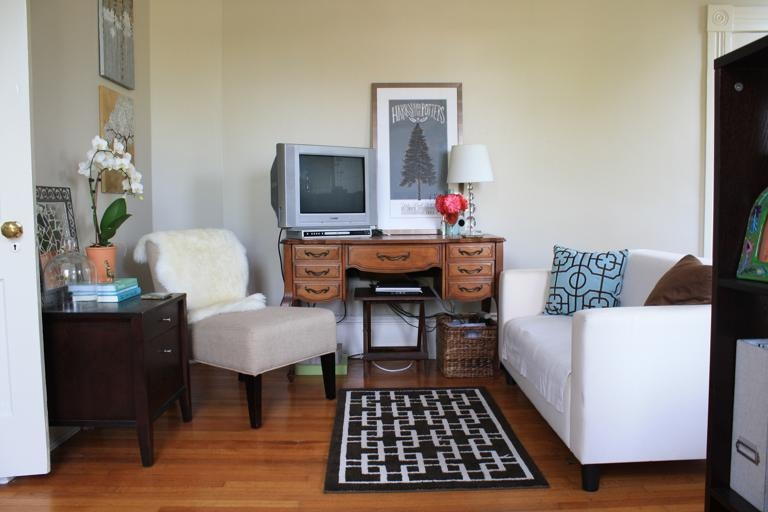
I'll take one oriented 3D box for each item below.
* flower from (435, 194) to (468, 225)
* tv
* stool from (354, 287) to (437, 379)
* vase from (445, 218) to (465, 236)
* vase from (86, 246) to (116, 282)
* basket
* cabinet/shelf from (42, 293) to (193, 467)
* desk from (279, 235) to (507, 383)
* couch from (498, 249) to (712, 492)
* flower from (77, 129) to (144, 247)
[{"bbox_3d":[0.489,-0.333,4.138,0.215,0.230,0.224,-5,5,-39],"label":"flower"},{"bbox_3d":[-0.460,-0.444,4.335,1.013,0.817,0.559,0,4,-17],"label":"tv"},{"bbox_3d":[0.078,0.531,4.219,0.610,0.571,0.574,0,-1,0],"label":"stool"},{"bbox_3d":[0.518,-0.194,4.185,0.135,0.137,0.249,-5,-1,14],"label":"vase"},{"bbox_3d":[-1.596,0.040,3.268,0.198,0.217,0.198,0,3,3],"label":"vase"},{"bbox_3d":[0.597,0.644,4.167,0.394,0.345,0.394,0,-1,0],"label":"basket"},{"bbox_3d":[-1.453,0.563,3.424,0.724,0.931,0.997,-1,3,-4],"label":"cabinet/shelf"},{"bbox_3d":[0.066,0.356,4.168,1.530,0.942,0.588,0,-3,-3],"label":"desk"},{"bbox_3d":[1.183,0.528,3.255,0.958,1.029,1.216,0,10,6],"label":"couch"},{"bbox_3d":[-1.689,-0.410,3.608,0.341,0.697,0.714,-6,11,-26],"label":"flower"}]
